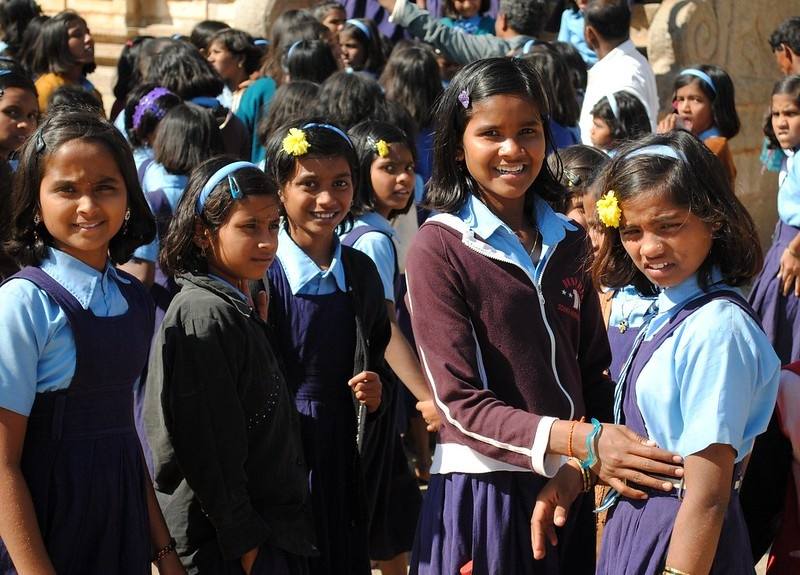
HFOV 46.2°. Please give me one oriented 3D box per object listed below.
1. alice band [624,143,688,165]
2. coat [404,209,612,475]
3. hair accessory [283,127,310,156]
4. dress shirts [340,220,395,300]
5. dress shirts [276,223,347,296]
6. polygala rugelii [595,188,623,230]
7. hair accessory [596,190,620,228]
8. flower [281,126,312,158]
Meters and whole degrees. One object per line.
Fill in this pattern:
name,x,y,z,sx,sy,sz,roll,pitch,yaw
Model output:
alice band,0.934,-0.492,3.438,0.213,0.065,0.070,3,3,16
coat,0.436,0.172,3.512,0.824,0.977,0.493,2,3,-4
hair accessory,-0.461,-0.642,4.158,0.133,0.122,0.054,3,4,17
dress shirts,-0.140,-0.156,4.951,0.297,0.370,0.278,12,16,35
dress shirts,-0.412,-0.098,4.146,0.208,0.305,0.151,-10,-7,-17
polygala rugelii,0.775,-0.292,3.493,0.084,0.134,0.131,2,3,5
hair accessory,0.774,-0.292,3.493,0.080,0.134,0.131,2,3,4
flower,-0.462,-0.645,4.147,0.109,0.123,0.047,9,-13,4
